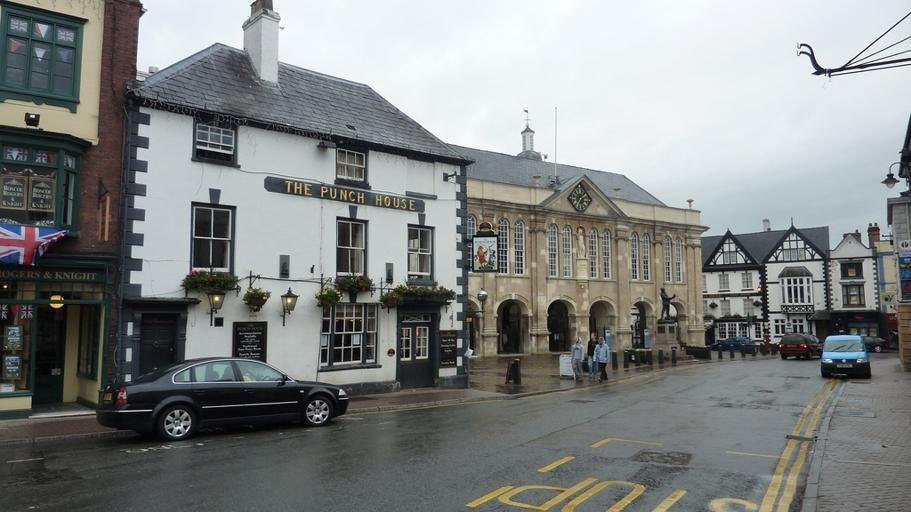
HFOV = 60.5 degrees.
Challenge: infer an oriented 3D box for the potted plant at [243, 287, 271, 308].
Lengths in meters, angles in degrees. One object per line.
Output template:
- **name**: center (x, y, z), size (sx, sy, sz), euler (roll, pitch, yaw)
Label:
- **potted plant**: center (-8.518, 1.778, 33.096), size (0.911, 0.586, 0.876), euler (8, -13, -36)

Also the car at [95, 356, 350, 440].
- **car**: center (-8.494, 5.214, 29.023), size (7.801, 2.281, 3.208), euler (1, -7, -26)

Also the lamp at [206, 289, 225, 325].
- **lamp**: center (-9.931, 2.105, 32.439), size (0.648, 1.529, 0.381), euler (-3, 8, -24)

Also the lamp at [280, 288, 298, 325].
- **lamp**: center (-7.228, 2.192, 33.911), size (0.686, 1.580, 0.476), euler (-5, 8, -32)

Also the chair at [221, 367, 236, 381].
- **chair**: center (-8.255, 4.241, 28.432), size (0.453, 0.501, 0.447), euler (5, -10, -23)

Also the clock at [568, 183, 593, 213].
- **clock**: center (9.876, -4.807, 63.339), size (2.279, 2.172, 0.228), euler (-12, 4, -43)
